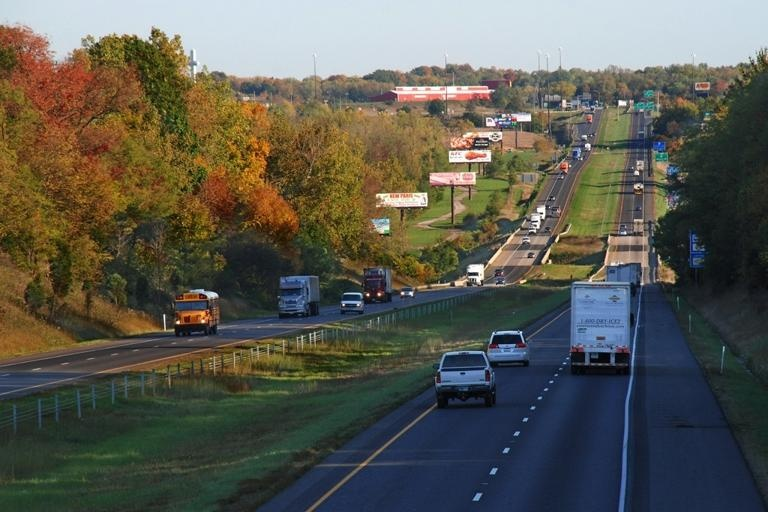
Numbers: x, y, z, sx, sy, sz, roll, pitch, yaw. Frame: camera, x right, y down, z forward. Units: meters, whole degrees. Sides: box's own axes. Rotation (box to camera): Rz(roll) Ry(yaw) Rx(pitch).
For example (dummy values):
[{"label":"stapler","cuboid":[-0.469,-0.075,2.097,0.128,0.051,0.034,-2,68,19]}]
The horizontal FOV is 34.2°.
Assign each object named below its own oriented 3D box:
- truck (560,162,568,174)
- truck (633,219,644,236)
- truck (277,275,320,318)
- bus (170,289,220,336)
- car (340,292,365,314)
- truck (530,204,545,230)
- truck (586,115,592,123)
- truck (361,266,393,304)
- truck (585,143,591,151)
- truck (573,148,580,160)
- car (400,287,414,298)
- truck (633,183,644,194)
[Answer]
[{"label":"truck","cuboid":[42.118,-20.892,292.953,1.338,1.541,5.718,-1,5,2]},{"label":"truck","cuboid":[46.471,-5.411,228.354,1.891,2.426,6.935,1,7,12]},{"label":"truck","cuboid":[-9.187,4.460,134.103,2.326,3.226,6.070,-1,-4,9]},{"label":"bus","cuboid":[-17.314,5.448,117.216,2.488,2.852,5.232,-1,-4,4]},{"label":"car","cuboid":[-3.462,5.191,138.409,2.393,2.053,3.344,0,7,5]},{"label":"truck","cuboid":[29.595,-7.726,242.486,1.764,3.469,6.680,-1,4,9]},{"label":"truck","cuboid":[65.325,-43.953,396.954,1.266,0.900,5.746,0,18,3]},{"label":"truck","cuboid":[-0.826,3.795,156.030,1.987,3.322,5.966,-1,-4,5]},{"label":"truck","cuboid":[54.222,-29.414,332.985,1.515,1.179,2.996,0,7,3]},{"label":"truck","cuboid":[48.468,-26.039,316.355,2.240,2.704,4.256,2,6,11]},{"label":"car","cuboid":[3.099,4.905,167.327,1.708,0.997,2.287,-1,7,-3]},{"label":"truck","cuboid":[53.503,-14.334,262.904,1.247,1.672,6.707,1,6,8]}]
